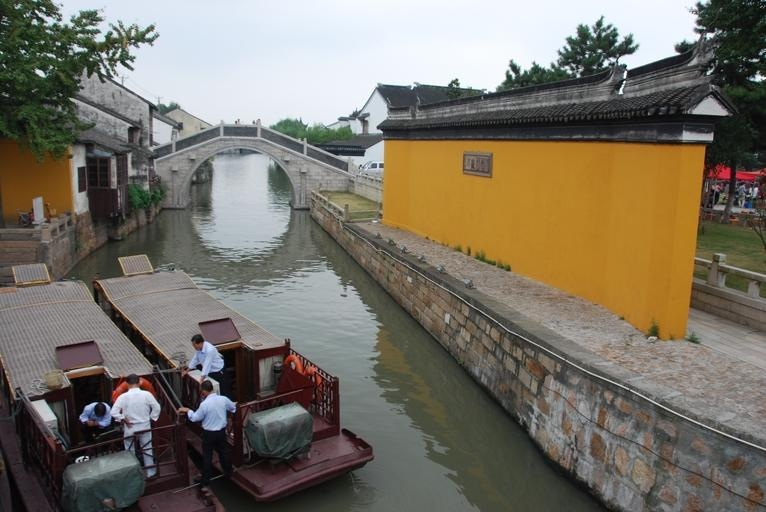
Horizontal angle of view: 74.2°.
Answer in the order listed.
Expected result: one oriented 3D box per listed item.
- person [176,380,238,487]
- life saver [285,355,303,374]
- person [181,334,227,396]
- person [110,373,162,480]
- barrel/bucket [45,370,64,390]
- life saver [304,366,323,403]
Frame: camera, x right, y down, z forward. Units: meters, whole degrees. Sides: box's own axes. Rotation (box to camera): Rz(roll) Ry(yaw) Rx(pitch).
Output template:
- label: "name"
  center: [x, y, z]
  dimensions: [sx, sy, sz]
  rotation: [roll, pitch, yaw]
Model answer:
- label: "person"
  center: [-2.996, 3.084, 8.858]
  dimensions: [0.837, 1.859, 0.781]
  rotation: [-13, 19, -43]
- label: "life saver"
  center: [-1.805, 2.160, 10.287]
  dimensions: [0.098, 0.353, 0.359]
  rotation: [-14, 10, -43]
- label: "person"
  center: [-3.522, 2.144, 9.941]
  dimensions: [0.480, 1.221, 0.680]
  rotation: [34, 55, 28]
- label: "person"
  center: [-4.336, 2.904, 8.856]
  dimensions: [0.701, 1.771, 0.594]
  rotation: [-2, 14, -23]
- label: "barrel/bucket"
  center: [-5.788, 2.145, 8.928]
  dimensions: [0.306, 0.261, 0.305]
  rotation: [3, 4, 0]
- label: "life saver"
  center: [-1.374, 2.560, 10.232]
  dimensions: [0.172, 0.626, 0.462]
  rotation: [-1, -3, -2]
